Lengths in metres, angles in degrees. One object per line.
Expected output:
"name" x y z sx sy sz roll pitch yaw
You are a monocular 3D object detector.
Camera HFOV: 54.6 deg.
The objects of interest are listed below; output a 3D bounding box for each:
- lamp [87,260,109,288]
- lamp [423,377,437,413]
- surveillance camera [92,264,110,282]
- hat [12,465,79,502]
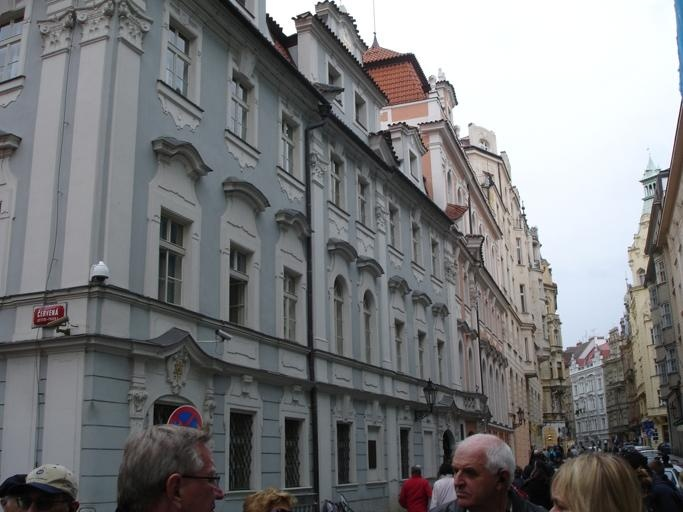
"lamp" -4.333 0.314 11.815 0.316 0.469 0.386 7 -14 -42
"lamp" 3.447 5.358 25.631 0.398 1.221 1.267 -5 -25 5
"surveillance camera" -4.334 0.283 11.813 0.311 0.376 0.253 -17 -18 35
"hat" -2.186 1.776 5.073 0.237 0.209 0.366 -3 -33 16
